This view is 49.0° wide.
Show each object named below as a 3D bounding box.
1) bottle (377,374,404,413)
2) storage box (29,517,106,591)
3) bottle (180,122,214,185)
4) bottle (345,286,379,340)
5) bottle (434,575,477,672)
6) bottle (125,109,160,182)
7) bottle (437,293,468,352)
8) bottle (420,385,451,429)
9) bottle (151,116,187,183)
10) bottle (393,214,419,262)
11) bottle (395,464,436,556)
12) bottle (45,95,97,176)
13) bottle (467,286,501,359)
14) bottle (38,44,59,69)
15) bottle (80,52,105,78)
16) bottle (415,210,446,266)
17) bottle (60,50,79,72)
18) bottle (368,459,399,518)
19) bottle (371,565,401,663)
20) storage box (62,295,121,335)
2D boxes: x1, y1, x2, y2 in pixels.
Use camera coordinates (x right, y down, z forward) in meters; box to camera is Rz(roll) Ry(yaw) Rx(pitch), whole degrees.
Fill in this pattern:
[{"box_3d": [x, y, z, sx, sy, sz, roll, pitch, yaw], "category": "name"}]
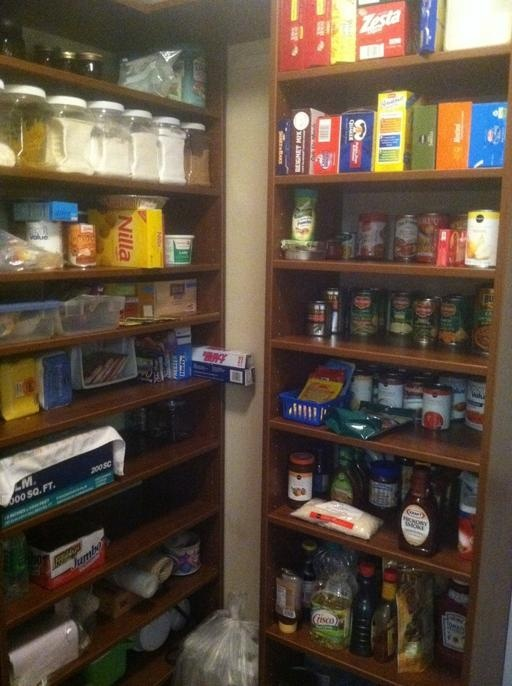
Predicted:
[{"box_3d": [0.378, 0.137, 1.580, 0.087, 0.094, 0.088, 0, 2, -39], "category": "bottle"}, {"box_3d": [-0.531, 0.553, 1.505, 0.121, 0.079, 0.159, 7, 5, 35], "category": "storage box"}, {"box_3d": [-0.229, -0.621, 1.880, 0.129, 0.185, 0.115, 18, 22, 36], "category": "bottle"}, {"box_3d": [0.312, -0.085, 1.639, 0.083, 0.128, 0.082, 0, -5, 0], "category": "bottle"}, {"box_3d": [0.520, 0.740, 1.498, 0.073, 0.234, 0.115, 3, 11, 19], "category": "bottle"}, {"box_3d": [-0.356, -0.553, 1.593, 0.147, 0.186, 0.136, 0, 14, 0], "category": "bottle"}, {"box_3d": [0.500, -0.056, 1.443, 0.078, 0.132, 0.055, 6, 13, 33], "category": "bottle"}, {"box_3d": [0.485, 0.168, 1.508, 0.097, 0.107, 0.096, 3, 11, 24], "category": "bottle"}, {"box_3d": [-0.284, -0.576, 1.693, 0.109, 0.184, 0.110, 1, 13, 0], "category": "bottle"}, {"box_3d": [0.390, -0.273, 1.472, 0.061, 0.120, 0.052, 3, 11, 22], "category": "bottle"}, {"box_3d": [0.405, 0.414, 1.398, 0.091, 0.201, 0.086, -1, 11, 0], "category": "bottle"}, {"box_3d": [-0.481, -0.512, 1.414, 0.124, 0.186, 0.127, -1, 7, 0], "category": "bottle"}, {"box_3d": [0.546, -0.060, 1.368, 0.034, 0.165, 0.173, 1, 11, 13], "category": "bottle"}, {"box_3d": [-0.533, -0.724, 1.421, 0.055, 0.056, 0.032, -5, 11, -20], "category": "bottle"}, {"box_3d": [-0.427, -0.708, 1.457, 0.068, 0.059, 0.067, -6, 15, -25], "category": "bottle"}, {"box_3d": [0.436, -0.266, 1.436, 0.047, 0.124, 0.089, -7, 12, -27], "category": "bottle"}, {"box_3d": [-0.487, -0.724, 1.456, 0.047, 0.049, 0.046, -6, 15, -38], "category": "bottle"}, {"box_3d": [0.365, 0.423, 1.609, 0.093, 0.139, 0.092, 3, -4, 0], "category": "bottle"}, {"box_3d": [0.346, 0.719, 1.516, 0.068, 0.251, 0.159, 1, 11, 13], "category": "bottle"}, {"box_3d": [-0.452, -0.080, 1.514, 0.087, 0.056, 0.128, 10, 16, 27], "category": "storage box"}]
